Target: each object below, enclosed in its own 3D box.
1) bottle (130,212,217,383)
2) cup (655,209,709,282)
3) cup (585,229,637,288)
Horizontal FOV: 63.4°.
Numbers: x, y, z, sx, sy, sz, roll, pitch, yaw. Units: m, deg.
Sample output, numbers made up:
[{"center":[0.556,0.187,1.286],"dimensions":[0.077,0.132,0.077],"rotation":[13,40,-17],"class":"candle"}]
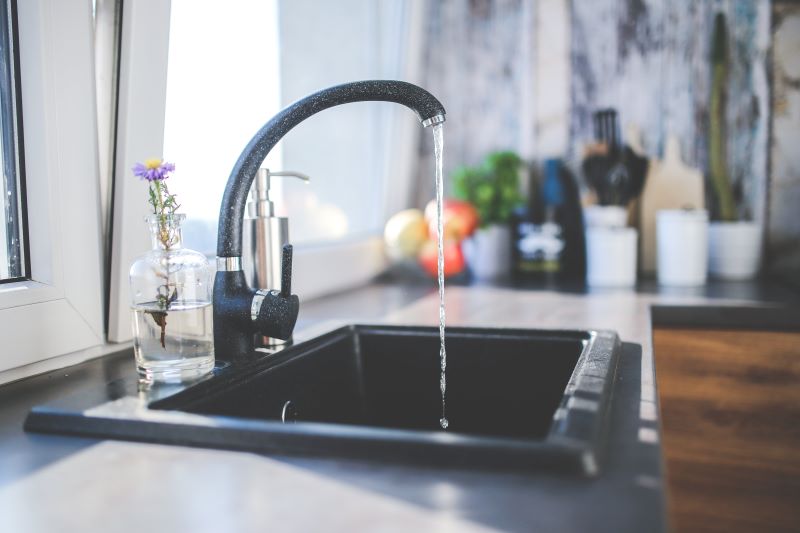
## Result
[{"center":[-0.339,0.045,0.977],"dimensions":[0.127,0.246,0.112],"rotation":[-6,12,-25],"class":"bottle"},{"center":[0.793,-0.055,1.821],"dimensions":[0.129,0.206,0.129],"rotation":[-3,9,0],"class":"cup"},{"center":[0.603,-0.029,1.901],"dimensions":[0.178,0.196,0.182],"rotation":[2,2,0],"class":"cup"}]
